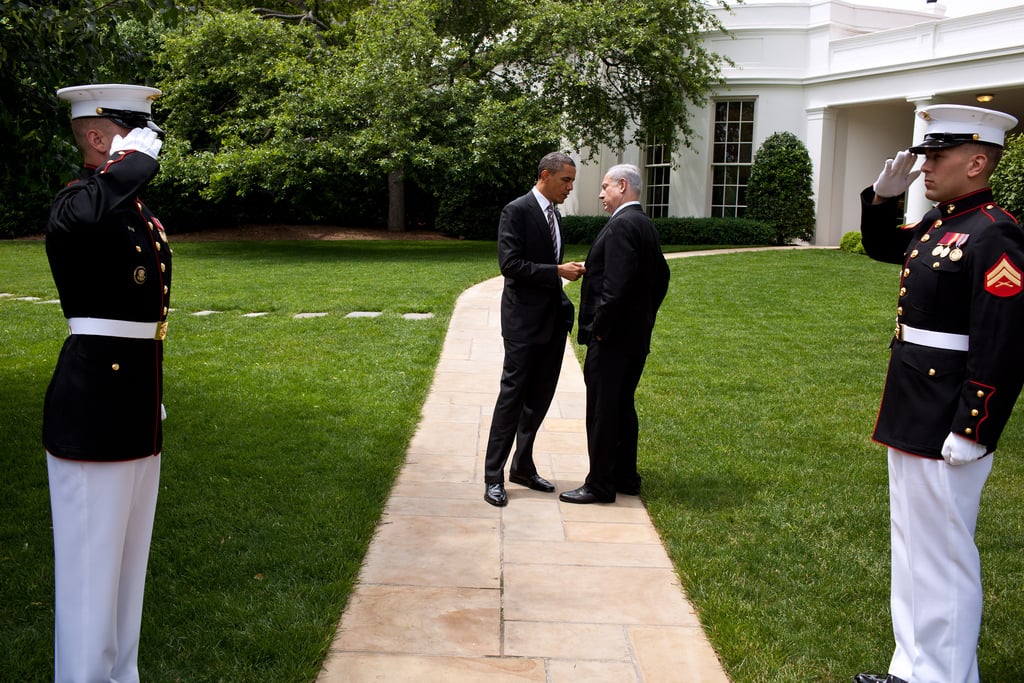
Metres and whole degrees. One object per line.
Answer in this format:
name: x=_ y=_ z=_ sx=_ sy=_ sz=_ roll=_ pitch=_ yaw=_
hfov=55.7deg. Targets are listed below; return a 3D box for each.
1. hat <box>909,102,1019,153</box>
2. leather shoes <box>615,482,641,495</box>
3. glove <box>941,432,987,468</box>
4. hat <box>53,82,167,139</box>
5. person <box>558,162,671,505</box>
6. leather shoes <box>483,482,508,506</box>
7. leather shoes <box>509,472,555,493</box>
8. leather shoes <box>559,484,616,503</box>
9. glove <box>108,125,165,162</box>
hat: x=2.272 y=-1.056 z=4.800 sx=0.349 sy=0.129 sz=0.297 roll=-2 pitch=4 yaw=-4
leather shoes: x=0.859 y=1.059 z=7.023 sx=0.131 sy=0.046 sz=0.095 roll=-1 pitch=0 yaw=21
glove: x=2.160 y=0.519 z=4.645 sx=0.147 sy=0.085 sz=0.197 roll=-2 pitch=-15 yaw=42
hat: x=-1.902 y=-1.118 z=4.558 sx=0.360 sy=0.132 sz=0.315 roll=1 pitch=4 yaw=-29
person: x=0.684 y=-0.044 z=6.829 sx=0.445 sy=2.352 sz=0.627 roll=10 pitch=13 yaw=37
leather shoes: x=-0.118 y=1.065 z=6.825 sx=0.164 sy=0.140 sz=0.192 roll=1 pitch=10 yaw=-2
leather shoes: x=0.144 y=1.031 z=7.181 sx=0.375 sy=0.139 sz=0.123 roll=6 pitch=-2 yaw=27
leather shoes: x=0.519 y=1.091 z=6.863 sx=0.411 sy=0.151 sz=0.144 roll=4 pitch=-12 yaw=-3
glove: x=-1.774 y=-0.930 z=4.540 sx=0.240 sy=0.149 sz=0.214 roll=-2 pitch=11 yaw=-21
